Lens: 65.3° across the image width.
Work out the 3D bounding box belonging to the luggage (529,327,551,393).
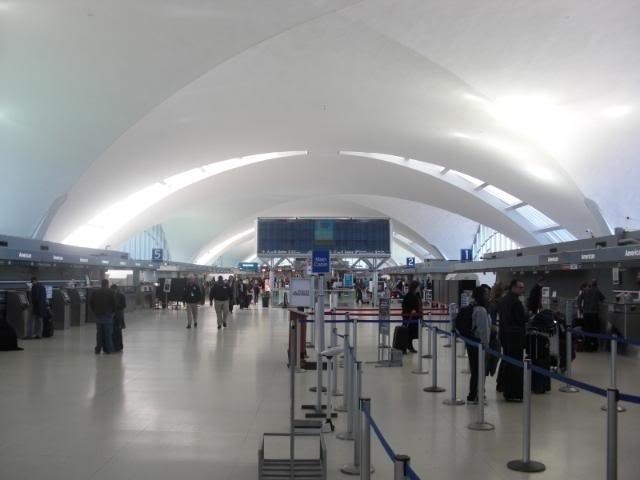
[{"bbox_3d":[4.673,2.586,10.726,0.423,1.276,0.983,-1,-4,23],"label":"luggage"}]

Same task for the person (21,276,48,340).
[{"bbox_3d":[-10.290,2.473,18.223,0.618,2.193,1.243,3,-4,-31],"label":"person"}]

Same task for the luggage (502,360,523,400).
[{"bbox_3d":[3.796,2.747,9.947,0.459,0.759,0.462,-4,9,10],"label":"luggage"}]

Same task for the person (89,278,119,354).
[{"bbox_3d":[-6.451,2.268,14.859,0.699,2.179,0.791,2,-4,-23],"label":"person"}]

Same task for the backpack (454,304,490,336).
[{"bbox_3d":[3.014,1.632,10.027,0.536,0.621,0.414,8,-4,2],"label":"backpack"}]

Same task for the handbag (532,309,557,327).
[{"bbox_3d":[4.841,1.720,10.992,0.340,0.194,0.464,-1,-4,-7],"label":"handbag"}]
